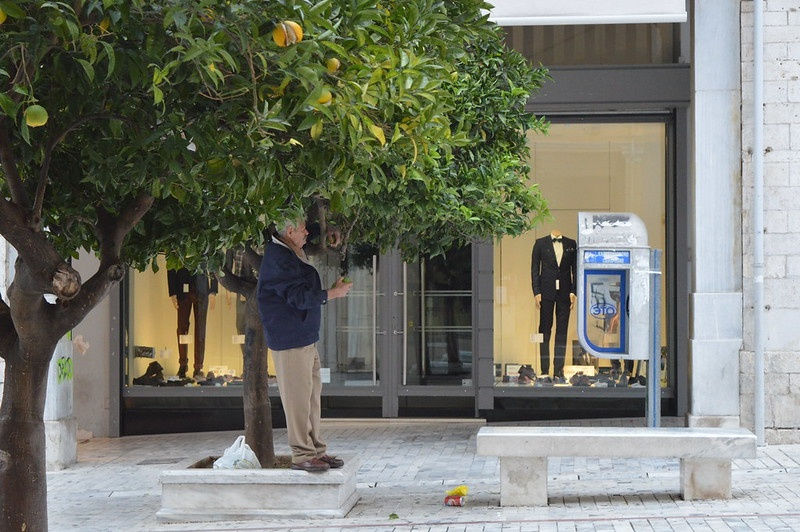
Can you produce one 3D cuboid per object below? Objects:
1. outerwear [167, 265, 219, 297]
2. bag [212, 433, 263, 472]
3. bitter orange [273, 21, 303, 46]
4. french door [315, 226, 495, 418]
[{"bbox_3d":[-2.695,0.205,12.437,0.479,0.381,0.257,0,-1,-12],"label":"outerwear"},{"bbox_3d":[-1.624,1.886,9.563,0.452,0.311,0.663,-3,1,-5],"label":"bag"},{"bbox_3d":[-0.702,-1.454,6.031,0.144,0.167,0.095,13,-18,7],"label":"bitter orange"},{"bbox_3d":[0.175,0.783,12.915,2.552,2.256,0.974,2,-4,-1],"label":"french door"}]
